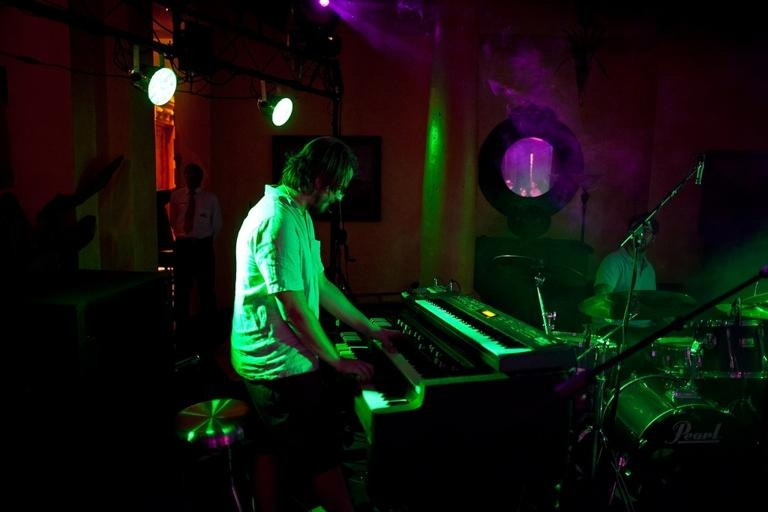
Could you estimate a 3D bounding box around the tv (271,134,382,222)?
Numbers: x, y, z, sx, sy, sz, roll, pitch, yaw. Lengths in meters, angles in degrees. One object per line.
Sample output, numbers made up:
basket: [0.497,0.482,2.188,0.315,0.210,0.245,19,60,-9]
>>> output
tv: [-0.746,-1.052,8.892,1.480,1.264,0.108,-5,26,-17]

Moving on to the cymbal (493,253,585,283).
cymbal: [1.299,0.106,5.248,0.367,0.084,0.377,12,-11,-5]

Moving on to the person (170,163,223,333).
person: [-2.342,-0.134,8.071,0.612,1.986,0.334,1,3,-20]

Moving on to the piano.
piano: [0.325,0.654,5.106,1.477,0.542,2.053,-5,10,-14]

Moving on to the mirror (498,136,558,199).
mirror: [1.394,-0.816,6.285,0.473,0.541,0.806,3,2,14]

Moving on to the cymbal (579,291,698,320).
cymbal: [2.082,0.408,5.332,0.858,0.269,0.364,2,2,-9]

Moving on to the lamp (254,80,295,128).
lamp: [-1.161,-1.606,6.817,0.257,0.410,0.557,3,3,25]

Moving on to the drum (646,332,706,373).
drum: [2.539,0.819,5.683,0.330,0.209,0.338,-3,5,0]
